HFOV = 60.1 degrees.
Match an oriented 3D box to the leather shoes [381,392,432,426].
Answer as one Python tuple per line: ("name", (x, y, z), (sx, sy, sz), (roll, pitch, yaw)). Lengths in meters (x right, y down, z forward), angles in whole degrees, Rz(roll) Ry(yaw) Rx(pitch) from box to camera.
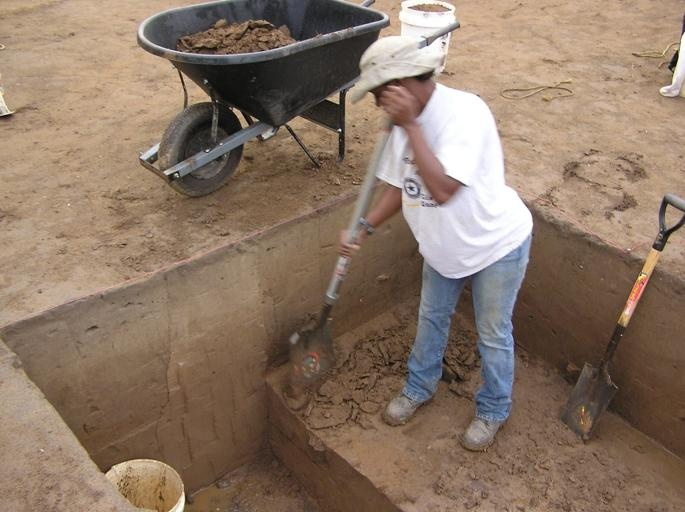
("leather shoes", (0.435, 1.098, 4.264), (0.357, 0.162, 0.163), (-32, 70, -12))

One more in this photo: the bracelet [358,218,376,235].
("bracelet", (0.143, -0.176, 3.634), (0.038, 0.110, 0.077), (-51, 19, -14))

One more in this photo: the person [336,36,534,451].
("person", (0.602, -0.012, 3.645), (1.068, 2.462, 0.822), (2, 21, 12))

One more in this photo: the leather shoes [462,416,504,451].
("leather shoes", (0.936, 1.193, 3.970), (0.186, 0.277, 0.124), (42, 11, 10))

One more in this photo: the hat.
("hat", (0.248, -1.026, 3.253), (0.554, 0.219, 0.515), (-11, 10, -34))
